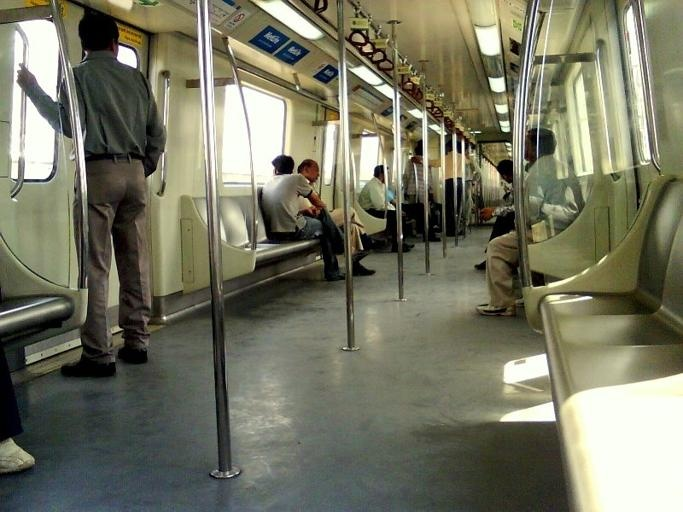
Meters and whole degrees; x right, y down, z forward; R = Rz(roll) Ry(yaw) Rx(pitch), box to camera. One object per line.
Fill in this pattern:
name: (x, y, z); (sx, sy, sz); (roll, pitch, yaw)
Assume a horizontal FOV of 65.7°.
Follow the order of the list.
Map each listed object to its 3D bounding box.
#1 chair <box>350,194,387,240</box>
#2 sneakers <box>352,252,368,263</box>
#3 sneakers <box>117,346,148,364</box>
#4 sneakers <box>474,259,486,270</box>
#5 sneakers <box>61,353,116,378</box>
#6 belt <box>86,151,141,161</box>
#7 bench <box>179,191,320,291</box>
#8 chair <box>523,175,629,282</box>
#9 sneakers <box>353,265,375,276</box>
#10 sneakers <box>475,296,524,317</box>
chair: (0.477, -0.578, 9.202); (0.644, 0.927, 0.931); (-1, 8, 0)
sneakers: (0.251, 0.023, 7.163); (0.160, 0.165, 0.476); (-2, 9, 6)
sneakers: (-1.367, 0.638, 3.483); (0.234, 0.106, 0.086); (7, 6, 41)
sneakers: (1.947, 0.129, 7.444); (0.091, 0.120, 0.276); (0, 7, 4)
sneakers: (-1.533, 0.693, 3.287); (0.355, 0.157, 0.132); (4, -2, 8)
belt: (-1.406, -0.615, 3.287); (0.326, 0.046, 0.118); (-8, 10, -30)
bench: (-1.255, -0.145, 6.303); (0.681, 0.937, 2.699); (-1, 1, -4)
chair: (1.002, -0.146, 2.480); (0.405, 0.611, 0.327); (0, 10, 7)
sneakers: (0.341, 0.197, 7.266); (0.352, 0.167, 0.119); (-4, 5, -8)
sneakers: (1.375, 0.432, 4.632); (0.395, 0.177, 0.159); (3, 0, 11)
